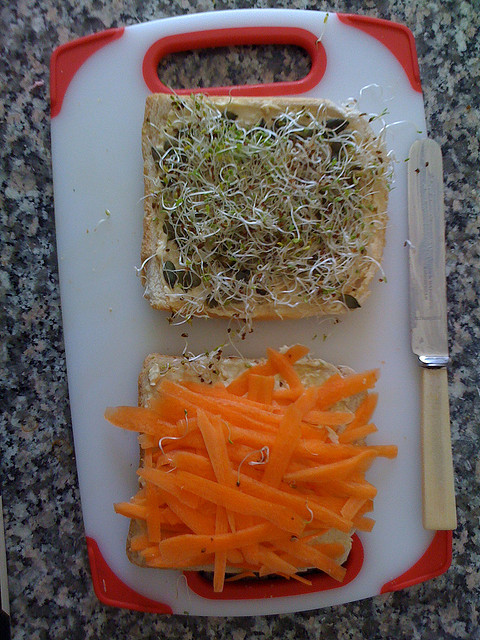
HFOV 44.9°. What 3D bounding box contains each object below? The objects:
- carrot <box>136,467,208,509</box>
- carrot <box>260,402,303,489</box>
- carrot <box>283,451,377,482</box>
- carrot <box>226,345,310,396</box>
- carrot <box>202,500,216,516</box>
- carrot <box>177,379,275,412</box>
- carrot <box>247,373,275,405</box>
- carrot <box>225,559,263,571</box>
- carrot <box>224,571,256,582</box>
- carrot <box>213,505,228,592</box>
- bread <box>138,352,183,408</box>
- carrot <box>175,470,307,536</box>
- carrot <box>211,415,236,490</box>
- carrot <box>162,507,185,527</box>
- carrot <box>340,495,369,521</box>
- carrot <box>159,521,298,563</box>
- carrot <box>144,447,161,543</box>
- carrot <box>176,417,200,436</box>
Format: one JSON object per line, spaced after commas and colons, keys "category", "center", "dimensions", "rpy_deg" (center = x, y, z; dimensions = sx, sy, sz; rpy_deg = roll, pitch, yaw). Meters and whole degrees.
{"category": "carrot", "center": [-0.168, 0.436, 1.504], "dimensions": [0.161, 0.037, 0.047], "rpy_deg": [36, 109, 4]}
{"category": "carrot", "center": [0.110, 0.321, 1.525], "dimensions": [0.069, 0.042, 0.235], "rpy_deg": [17, 78, 5]}
{"category": "carrot", "center": [0.240, 0.388, 1.545], "dimensions": [0.270, 0.063, 0.080], "rpy_deg": [-10, 71, 0]}
{"category": "carrot", "center": [0.087, 0.150, 1.666], "dimensions": [0.183, 0.044, 0.043], "rpy_deg": [-34, 111, -2]}
{"category": "carrot", "center": [-0.084, 0.488, 1.504], "dimensions": [0.037, 0.011, 0.036], "rpy_deg": [-11, 66, 25]}
{"category": "carrot", "center": [-0.034, 0.209, 1.575], "dimensions": [0.169, 0.027, 0.024], "rpy_deg": [21, 82, 10]}
{"category": "carrot", "center": [0.057, 0.192, 1.576], "dimensions": [0.059, 0.092, 0.052], "rpy_deg": [7, 59, 6]}
{"category": "carrot", "center": [0.015, 0.702, 1.656], "dimensions": [0.084, 0.078, 0.019], "rpy_deg": [0, 94, 7]}
{"category": "carrot", "center": [0.001, 0.746, 1.698], "dimensions": [0.082, 0.059, 0.023], "rpy_deg": [-3, 82, -9]}
{"category": "carrot", "center": [-0.050, 0.590, 1.499], "dimensions": [0.051, 0.031, 0.206], "rpy_deg": [0, 105, 0]}
{"category": "bread", "center": [-0.233, 0.185, 1.733], "dimensions": [0.149, 0.037, 0.141], "rpy_deg": [-1, 89, -40]}
{"category": "carrot", "center": [0.010, 0.461, 1.468], "dimensions": [0.350, 0.059, 0.068], "rpy_deg": [10, 34, 31]}
{"category": "carrot", "center": [-0.041, 0.335, 1.478], "dimensions": [0.043, 0.022, 0.203], "rpy_deg": [-7, 78, -21]}
{"category": "carrot", "center": [-0.175, 0.522, 1.537], "dimensions": [0.046, 0.016, 0.048], "rpy_deg": [-34, 95, -47]}
{"category": "carrot", "center": [0.306, 0.498, 1.554], "dimensions": [0.052, 0.023, 0.077], "rpy_deg": [38, 59, -5]}
{"category": "carrot", "center": [-0.024, 0.572, 1.493], "dimensions": [0.350, 0.089, 0.056], "rpy_deg": [-9, 116, -2]}
{"category": "carrot", "center": [-0.230, 0.477, 1.559], "dimensions": [0.061, 0.031, 0.221], "rpy_deg": [-3, 91, -2]}
{"category": "carrot", "center": [-0.138, 0.278, 1.518], "dimensions": [0.064, 0.024, 0.034], "rpy_deg": [-16, 88, -12]}
